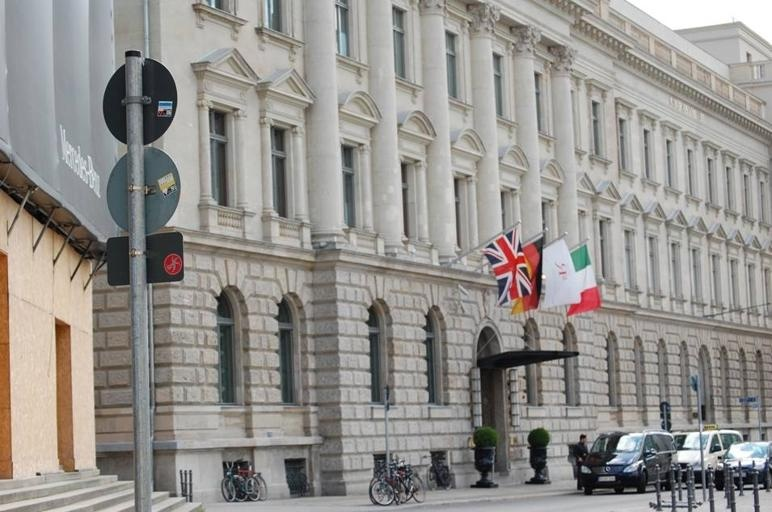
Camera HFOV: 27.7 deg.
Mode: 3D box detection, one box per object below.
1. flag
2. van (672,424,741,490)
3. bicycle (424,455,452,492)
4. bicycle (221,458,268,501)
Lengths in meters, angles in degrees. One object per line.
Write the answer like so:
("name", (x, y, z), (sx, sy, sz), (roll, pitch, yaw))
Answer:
("flag", (6.144, 0.625, 60.376), (2.111, 2.853, 5.555), (14, 6, 37))
("van", (11.867, 7.287, 59.026), (2.604, 2.168, 4.344), (-9, -15, 34))
("bicycle", (2.080, 8.032, 58.223), (0.875, 0.820, 1.381), (-13, -19, 33))
("bicycle", (-4.682, 7.345, 50.897), (1.328, 0.928, 1.749), (12, 5, 23))
